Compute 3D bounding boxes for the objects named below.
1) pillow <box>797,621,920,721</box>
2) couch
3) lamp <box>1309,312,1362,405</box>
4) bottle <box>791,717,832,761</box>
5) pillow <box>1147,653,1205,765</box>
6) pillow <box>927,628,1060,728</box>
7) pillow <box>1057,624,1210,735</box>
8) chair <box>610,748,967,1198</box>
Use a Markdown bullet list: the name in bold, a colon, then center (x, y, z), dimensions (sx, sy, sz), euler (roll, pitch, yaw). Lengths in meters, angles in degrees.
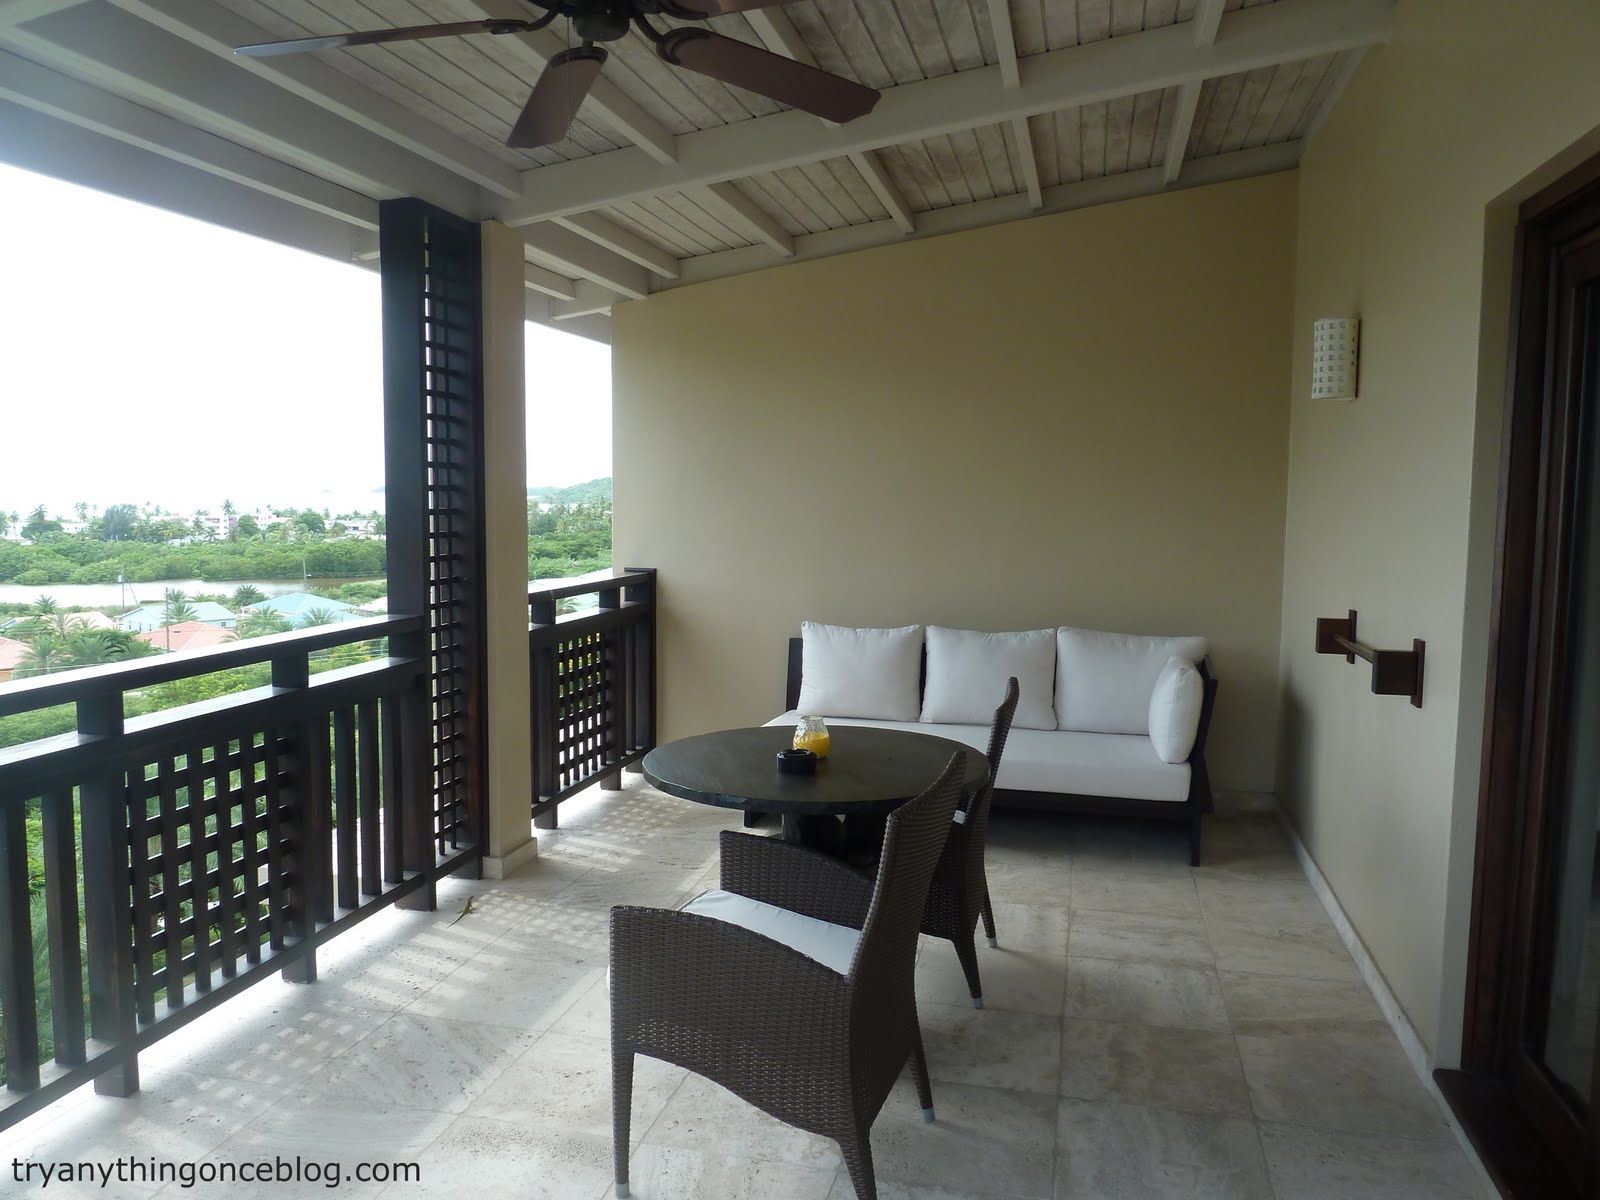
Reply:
- **pillow**: center (0.317, 0.407, 5.882), dimensions (0.503, 0.384, 0.174), euler (1, -15, 19)
- **couch**: center (0.905, 0.682, 5.637), dimensions (2.360, 1.076, 1.031), euler (1, 4, 22)
- **lamp**: center (2.177, -0.987, 4.406), dimensions (0.176, 0.349, 0.259), euler (4, 12, 21)
- **bottle**: center (0.057, 0.523, 4.051), dimensions (0.142, 0.136, 0.142), euler (1, 0, -43)
- **pillow**: center (1.783, 0.544, 5.157), dimensions (0.182, 0.342, 0.511), euler (-1, -4, 11)
- **pillow**: center (1.004, 0.425, 5.599), dimensions (0.494, 0.354, 0.171), euler (1, -26, 16)
- **pillow**: center (1.662, 0.428, 5.464), dimensions (0.579, 0.405, 0.201), euler (1, -3, 14)
- **chair**: center (-0.052, 0.953, 3.645), dimensions (1.248, 1.622, 1.057), euler (2, 0, 23)
